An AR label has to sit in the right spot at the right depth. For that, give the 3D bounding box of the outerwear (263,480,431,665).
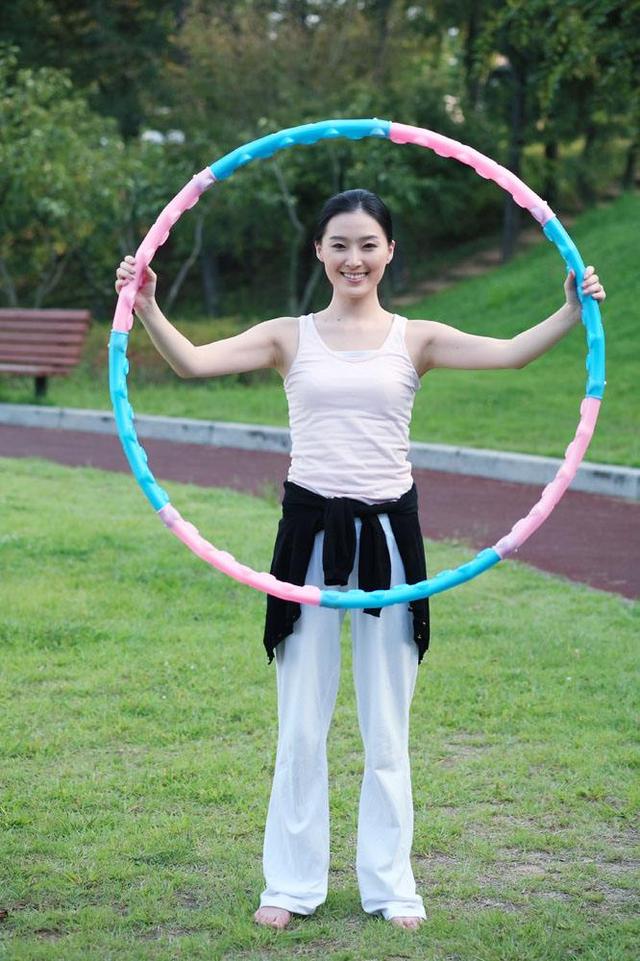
[{"bbox_3d":[0.077,0.298,4.059,0.502,0.540,0.235,0,15,-4],"label":"outerwear"}]

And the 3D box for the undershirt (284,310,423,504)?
[{"bbox_3d":[0.095,-0.200,4.034,0.389,0.517,0.296,1,15,2],"label":"undershirt"}]
